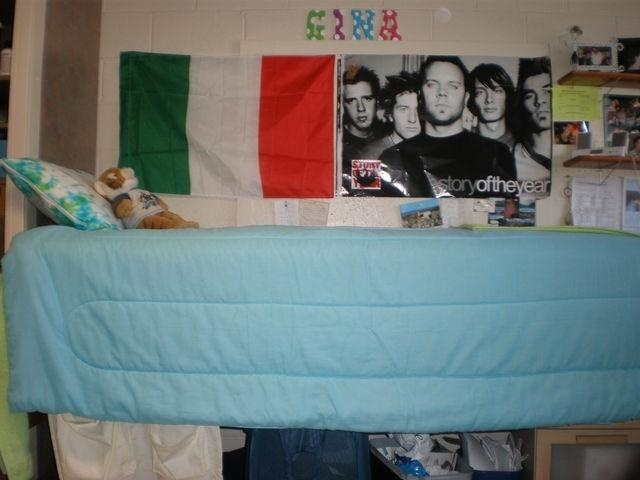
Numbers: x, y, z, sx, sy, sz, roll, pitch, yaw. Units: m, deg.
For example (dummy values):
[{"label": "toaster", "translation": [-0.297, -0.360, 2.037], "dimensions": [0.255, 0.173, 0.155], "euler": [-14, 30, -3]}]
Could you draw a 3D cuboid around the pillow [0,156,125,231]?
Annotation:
[{"label": "pillow", "translation": [-1.154, -0.118, 3.800], "dimensions": [0.359, 0.118, 0.389], "euler": [15, 34, -37]}]

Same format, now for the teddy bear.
[{"label": "teddy bear", "translation": [-0.806, -0.165, 3.972], "dimensions": [0.509, 0.346, 0.297], "euler": [-5, -1, 30]}]

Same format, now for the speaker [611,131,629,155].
[{"label": "speaker", "translation": [1.551, -0.508, 4.501], "dimensions": [0.089, 0.103, 0.144], "euler": [4, 16, 18]}]
